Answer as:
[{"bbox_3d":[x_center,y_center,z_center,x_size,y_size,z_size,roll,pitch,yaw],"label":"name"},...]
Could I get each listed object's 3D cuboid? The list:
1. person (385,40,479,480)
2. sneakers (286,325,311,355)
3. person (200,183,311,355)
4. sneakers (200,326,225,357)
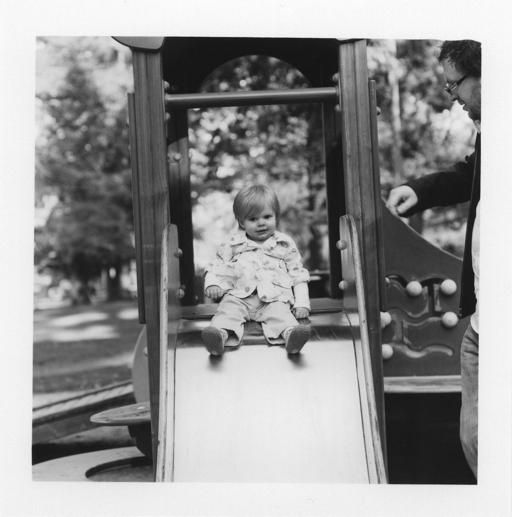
[{"bbox_3d":[1.194,-0.008,7.615,0.577,2.835,1.135,0,10,7],"label":"person"},{"bbox_3d":[0.242,0.451,6.513,0.107,0.191,0.079,11,22,-17],"label":"sneakers"},{"bbox_3d":[-0.009,0.039,6.880,0.643,0.859,1.130,1,10,3],"label":"person"},{"bbox_3d":[-0.242,0.450,6.510,0.095,0.195,0.118,0,16,14],"label":"sneakers"}]
